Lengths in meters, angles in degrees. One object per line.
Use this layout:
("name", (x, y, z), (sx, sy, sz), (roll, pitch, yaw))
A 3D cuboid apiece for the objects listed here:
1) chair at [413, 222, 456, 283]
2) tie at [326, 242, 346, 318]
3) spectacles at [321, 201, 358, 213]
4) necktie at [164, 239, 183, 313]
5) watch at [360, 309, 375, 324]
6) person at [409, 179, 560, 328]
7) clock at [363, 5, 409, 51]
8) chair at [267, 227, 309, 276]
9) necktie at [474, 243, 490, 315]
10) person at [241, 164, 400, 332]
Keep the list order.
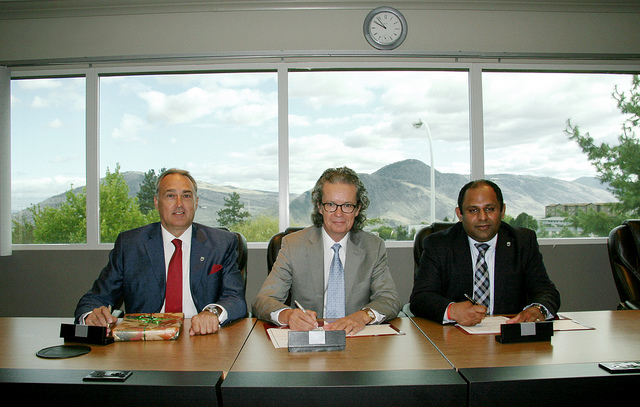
("chair", (0.970, 0.421, 4.417), (0.519, 0.611, 0.485), (0, -3, 7))
("tie", (0.127, 0.646, 3.967), (0.128, 0.603, 0.123), (-5, -5, 39))
("spectacles", (0.166, 0.035, 3.981), (0.278, 0.084, 0.058), (-1, -4, 1))
("necktie", (-1.242, 0.610, 4.033), (0.141, 0.608, 0.093), (0, -4, -18))
("watch", (0.377, 0.888, 3.744), (0.066, 0.098, 0.070), (2, -5, -43))
("person", (1.355, 0.378, 4.011), (1.220, 1.184, 0.663), (-2, -4, 2))
("clock", (0.787, -2.166, 5.770), (0.617, 0.538, 0.060), (-1, 3, -2))
("chair", (-0.191, 0.446, 4.500), (0.457, 0.542, 0.453), (1, -7, 6))
("necktie", (1.422, 0.651, 4.170), (0.126, 0.604, 0.131), (-4, -4, 27))
("person", (0.054, 0.334, 3.953), (1.005, 1.303, 0.744), (1, -5, -36))
